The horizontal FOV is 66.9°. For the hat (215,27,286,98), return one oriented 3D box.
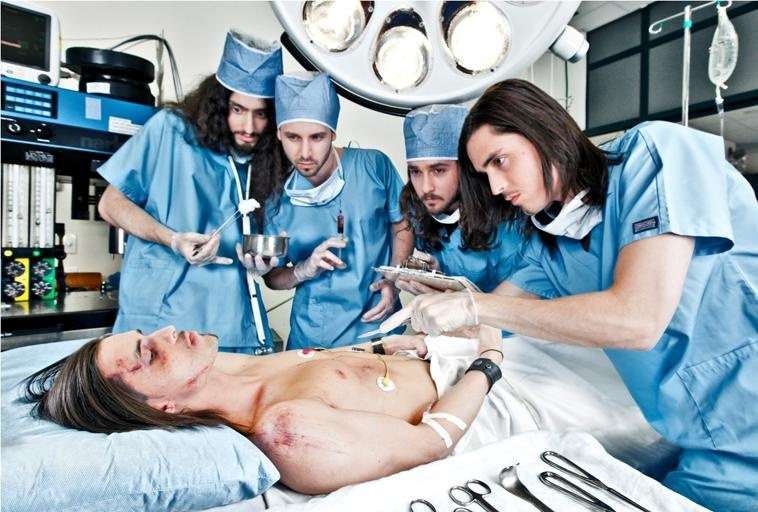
[{"bbox_3d":[-0.616,-0.974,2.828,0.339,0.249,0.350,23,36,1],"label":"hat"}]

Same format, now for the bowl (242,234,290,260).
[{"bbox_3d":[-0.532,-0.044,2.633,0.228,0.114,0.123,-2,4,2],"label":"bowl"}]

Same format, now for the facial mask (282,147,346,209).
[{"bbox_3d":[-0.329,-0.399,2.970,0.320,0.275,0.171,-3,4,-11],"label":"facial mask"}]

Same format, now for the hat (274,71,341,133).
[{"bbox_3d":[-0.373,-0.771,2.846,0.315,0.306,0.413,4,8,-3],"label":"hat"}]

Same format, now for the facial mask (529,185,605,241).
[{"bbox_3d":[0.749,-0.163,2.267,0.160,0.152,0.210,-28,2,30],"label":"facial mask"}]

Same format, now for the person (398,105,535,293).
[{"bbox_3d":[0.411,-0.256,2.576,0.364,0.913,0.648,-38,37,-17],"label":"person"}]

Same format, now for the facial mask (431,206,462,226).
[{"bbox_3d":[0.346,-0.201,2.842,0.077,0.050,0.105,-5,-7,39],"label":"facial mask"}]

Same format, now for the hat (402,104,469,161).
[{"bbox_3d":[0.271,-0.641,2.907,0.311,0.304,0.423,9,18,27],"label":"hat"}]

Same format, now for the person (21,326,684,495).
[{"bbox_3d":[-0.022,0.556,2.370,2.025,0.272,0.957,-6,11,-29],"label":"person"}]
